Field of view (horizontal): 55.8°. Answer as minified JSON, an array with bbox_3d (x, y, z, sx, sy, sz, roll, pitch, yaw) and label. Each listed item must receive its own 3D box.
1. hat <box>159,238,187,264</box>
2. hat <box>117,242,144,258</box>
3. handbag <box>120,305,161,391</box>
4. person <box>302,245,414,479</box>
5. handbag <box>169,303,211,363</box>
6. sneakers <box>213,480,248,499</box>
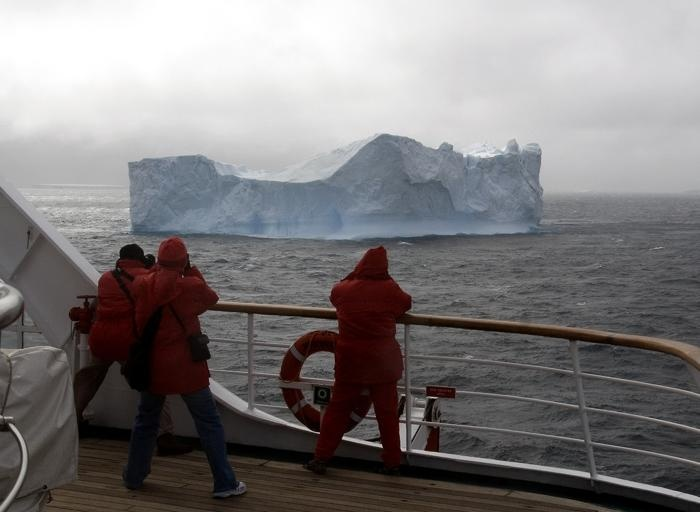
[{"bbox_3d":[-0.905,-0.029,3.358,0.128,0.087,0.157,0,13,-6],"label":"hat"},{"bbox_3d":[-1.237,-0.030,3.753,0.122,0.043,0.111,1,11,17],"label":"hat"},{"bbox_3d":[-1.048,0.460,3.350,0.152,0.436,0.175,16,-11,-14],"label":"handbag"},{"bbox_3d":[0.104,0.572,3.627,0.596,1.283,0.467,13,-11,-5],"label":"person"},{"bbox_3d":[-0.784,0.393,3.346,0.144,0.260,0.277,2,-13,45],"label":"handbag"},{"bbox_3d":[-0.610,1.205,3.454,0.191,0.073,0.067,-10,20,-31],"label":"sneakers"}]
